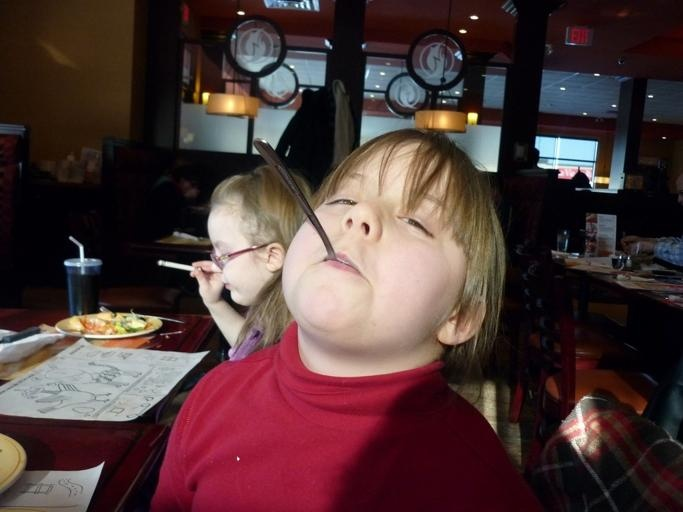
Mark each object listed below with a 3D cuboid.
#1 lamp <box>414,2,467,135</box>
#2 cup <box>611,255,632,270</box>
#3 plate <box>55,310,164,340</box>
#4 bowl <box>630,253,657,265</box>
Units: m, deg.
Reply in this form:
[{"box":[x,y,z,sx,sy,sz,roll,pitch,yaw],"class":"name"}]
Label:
[{"box":[0.995,-1.912,5.549,0.704,1.128,0.609,-1,7,-29],"class":"lamp"},{"box":[1.716,0.023,3.114,0.120,0.057,0.163,1,1,18],"class":"cup"},{"box":[-0.674,0.207,1.493,0.133,0.018,0.131,7,9,2],"class":"plate"},{"box":[1.842,0.030,3.126,0.122,0.028,0.112,-3,20,1],"class":"bowl"}]
